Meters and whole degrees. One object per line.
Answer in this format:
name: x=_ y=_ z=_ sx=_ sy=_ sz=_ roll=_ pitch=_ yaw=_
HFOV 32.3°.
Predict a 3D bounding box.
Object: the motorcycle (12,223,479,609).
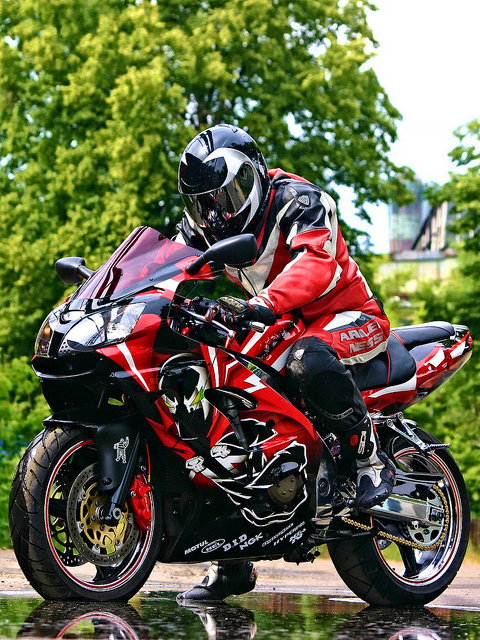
motorcycle: x=0.046 y=0.516 z=3.627 sx=2.039 sy=1.848 sz=0.605 roll=-7 pitch=8 yaw=-41
